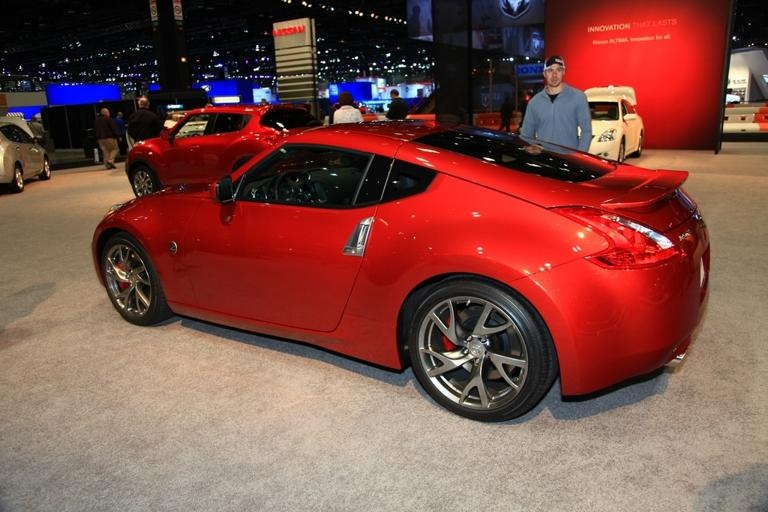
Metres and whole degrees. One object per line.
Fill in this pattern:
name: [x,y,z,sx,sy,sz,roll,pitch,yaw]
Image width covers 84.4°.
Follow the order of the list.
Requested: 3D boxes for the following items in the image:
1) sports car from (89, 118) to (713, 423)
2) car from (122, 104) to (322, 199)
sports car: [-0.337,-0.021,3.646,4.615,1.421,2.245,10,20,27]
car: [-4.088,-2.859,10.871,5.214,2.031,2.952,3,27,16]
